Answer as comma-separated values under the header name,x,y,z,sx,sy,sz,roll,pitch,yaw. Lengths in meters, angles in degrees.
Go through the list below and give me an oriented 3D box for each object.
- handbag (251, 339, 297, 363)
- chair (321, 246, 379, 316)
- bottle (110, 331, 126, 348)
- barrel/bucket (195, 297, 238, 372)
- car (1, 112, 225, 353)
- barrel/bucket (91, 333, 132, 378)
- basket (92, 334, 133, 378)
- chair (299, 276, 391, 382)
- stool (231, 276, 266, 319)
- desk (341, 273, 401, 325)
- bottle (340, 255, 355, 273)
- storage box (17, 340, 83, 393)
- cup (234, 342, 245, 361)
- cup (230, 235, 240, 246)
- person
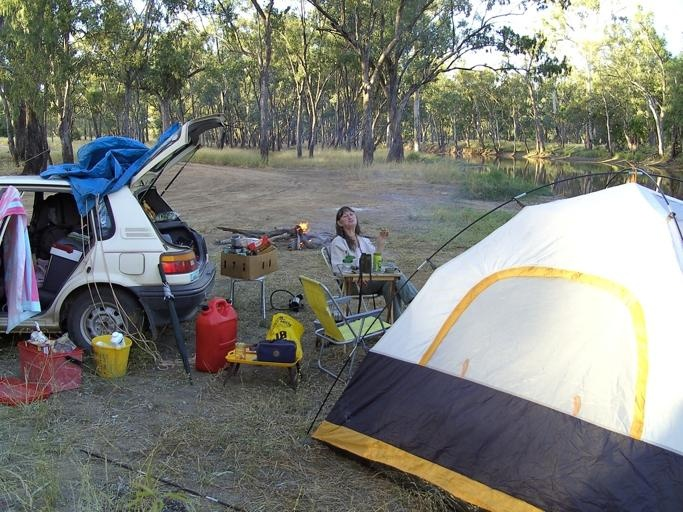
name,x,y,z,sx,sy,sz,roll,pitch,yaw
handbag,-0.679,0.963,5.838,0.431,0.192,0.251,2,13,-4
chair,0.194,0.529,7.726,0.729,1.180,0.694,5,17,3
bottle,-2.288,0.853,5.807,0.125,0.152,0.137,2,1,-1
barrel/bucket,-1.351,0.868,6.096,0.355,0.882,0.575,8,12,27
car,-2.550,-0.317,6.824,2.792,2.079,1.958,4,9,1
barrel/bucket,-2.396,1.044,5.932,0.382,0.364,0.390,7,8,-1
basket,-2.403,1.046,5.925,0.378,0.344,0.405,7,8,8
chair,0.091,0.705,6.310,0.977,1.168,0.738,-12,15,-34
stool,-1.361,0.563,8.186,0.560,0.632,0.602,0,-4,-5
desk,0.340,0.560,7.198,0.726,0.738,0.710,3,5,7
bottle,0.064,0.097,7.129,0.140,0.167,0.178,-1,-2,28
storage box,-2.872,1.050,5.648,0.545,0.446,0.399,4,5,15
cup,-1.053,1.006,5.893,0.144,0.156,0.275,1,14,-10
cup,-1.437,-0.214,7.612,0.094,0.131,0.133,0,-6,-6
person,0.429,0.136,7.429,1.123,1.685,0.729,-1,8,36
